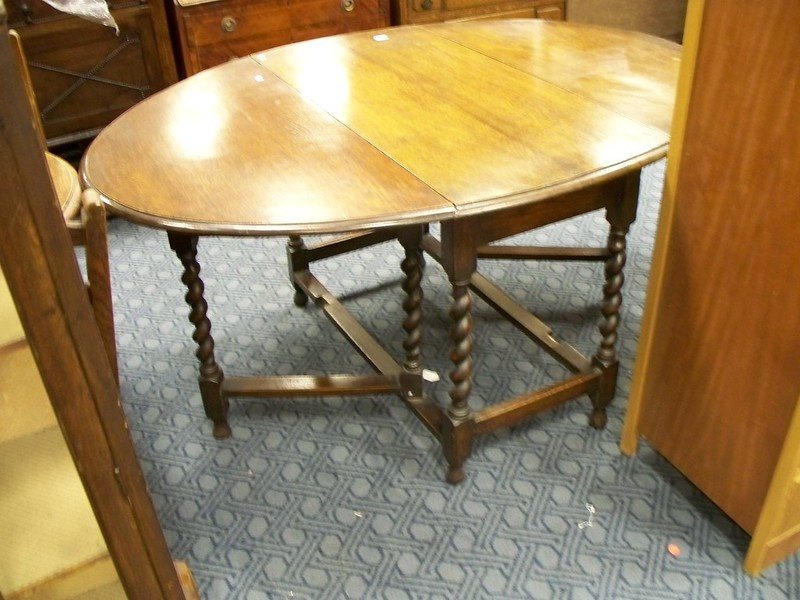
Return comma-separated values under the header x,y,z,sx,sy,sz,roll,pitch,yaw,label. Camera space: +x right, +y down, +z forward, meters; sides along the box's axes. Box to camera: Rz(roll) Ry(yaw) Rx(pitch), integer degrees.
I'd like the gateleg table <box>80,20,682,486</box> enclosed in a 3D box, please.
x,y,z,sx,sy,sz,roll,pitch,yaw,label
0.054,-0.252,2.451,1.980,1.145,1.646,-22,42,-22,gateleg table
